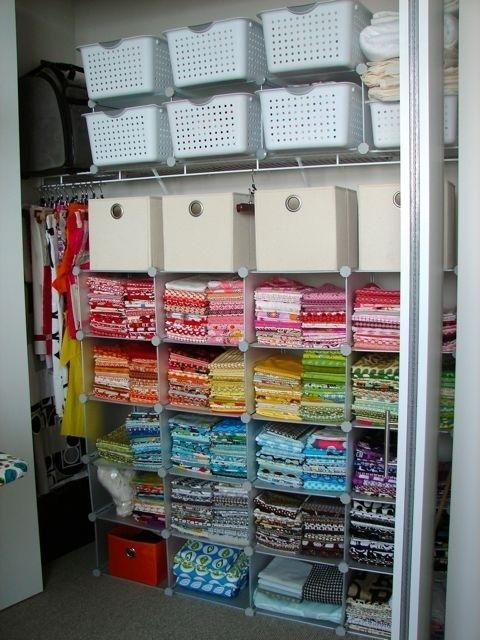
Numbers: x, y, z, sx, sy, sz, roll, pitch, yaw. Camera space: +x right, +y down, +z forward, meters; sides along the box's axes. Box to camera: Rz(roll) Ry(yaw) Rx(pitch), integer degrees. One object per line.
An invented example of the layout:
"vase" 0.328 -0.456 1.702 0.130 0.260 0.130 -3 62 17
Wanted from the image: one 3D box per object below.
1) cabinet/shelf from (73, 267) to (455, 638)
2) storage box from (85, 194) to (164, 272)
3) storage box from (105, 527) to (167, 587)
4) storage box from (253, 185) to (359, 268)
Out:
"cabinet/shelf" 0.077 0.546 2.252 1.614 1.326 0.528 4 12 21
"storage box" -0.530 -0.397 2.805 0.486 0.451 0.356 3 8 21
"storage box" -0.550 1.282 2.894 0.275 0.187 0.207 0 -10 15
"storage box" 0.300 -0.389 2.378 0.406 0.358 0.311 2 6 23
